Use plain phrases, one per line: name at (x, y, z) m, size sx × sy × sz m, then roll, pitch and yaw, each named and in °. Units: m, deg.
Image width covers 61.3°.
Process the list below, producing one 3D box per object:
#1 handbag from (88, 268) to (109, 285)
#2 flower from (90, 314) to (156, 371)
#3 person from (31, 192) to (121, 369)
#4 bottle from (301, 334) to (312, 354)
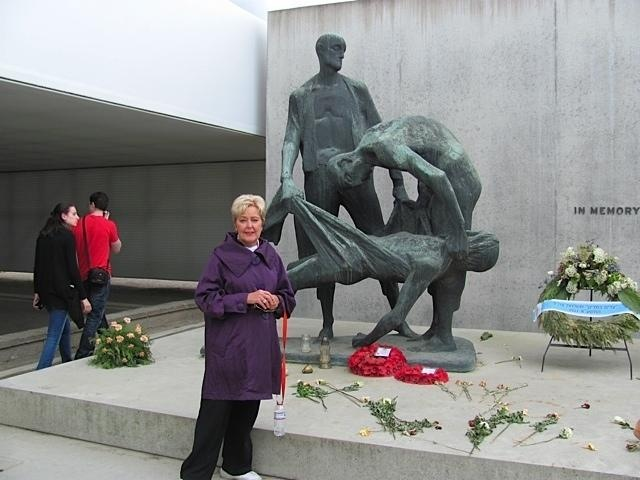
handbag at (-2.301, 0.381, 5.599) m, size 0.203 × 0.199 × 0.153 m, roll 4°, pitch -3°, yaw -27°
flower at (-1.837, 0.974, 5.093) m, size 0.389 × 0.446 × 0.537 m, roll 1°, pitch -4°, yaw 18°
person at (-2.447, 0.442, 5.348) m, size 0.694 × 1.619 × 0.745 m, roll -1°, pitch 2°, yaw -28°
bottle at (-0.139, 0.993, 5.157) m, size 0.122 × 0.204 × 0.131 m, roll -1°, pitch 0°, yaw 0°
